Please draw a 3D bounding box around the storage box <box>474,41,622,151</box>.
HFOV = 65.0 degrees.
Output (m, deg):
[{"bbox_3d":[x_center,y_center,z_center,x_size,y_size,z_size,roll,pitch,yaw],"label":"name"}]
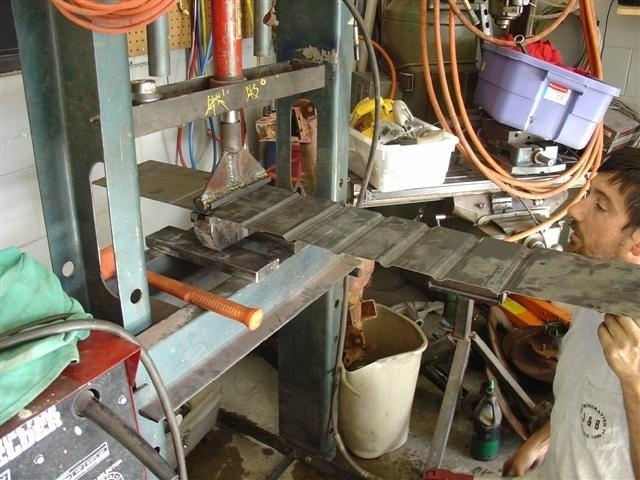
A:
[{"bbox_3d":[1.075,-0.724,2.491,0.639,0.289,0.522,10,25,-20],"label":"storage box"}]
